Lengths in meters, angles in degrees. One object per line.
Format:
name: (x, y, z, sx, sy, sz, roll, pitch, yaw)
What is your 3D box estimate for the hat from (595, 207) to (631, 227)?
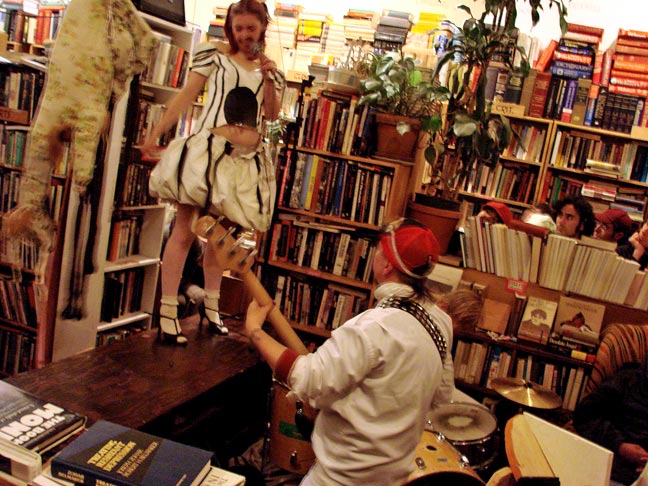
hat: (2.511, -0.225, 4.040, 0.282, 0.122, 0.184, 3, 13, 2)

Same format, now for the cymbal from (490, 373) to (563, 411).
cymbal: (1.184, 0.881, 2.733, 0.238, 0.057, 0.244, 20, 20, 36)

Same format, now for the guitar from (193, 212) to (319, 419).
guitar: (-0.317, 0.174, 2.006, 0.689, 0.521, 0.246, 15, 15, 26)

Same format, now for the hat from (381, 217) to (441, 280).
hat: (0.313, 0.023, 1.731, 0.213, 0.199, 0.095, 11, 13, 9)

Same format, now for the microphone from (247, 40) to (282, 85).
microphone: (-0.295, -0.923, 2.437, 0.237, 0.070, 0.107, 52, 16, 4)
